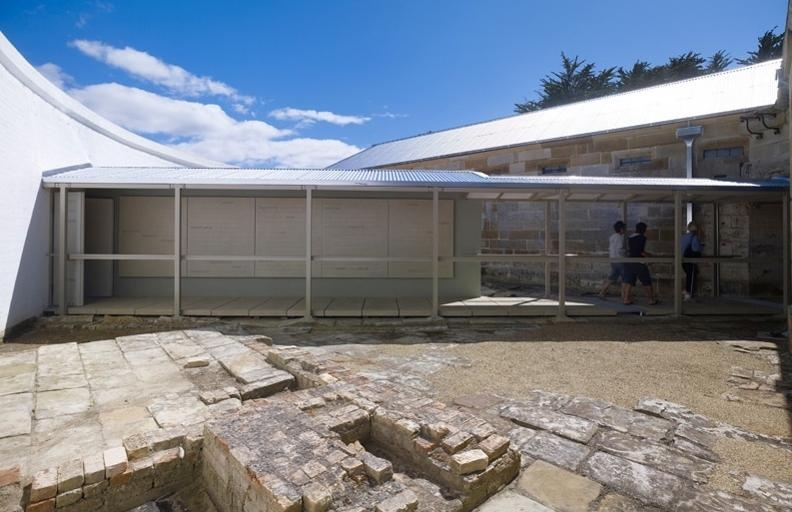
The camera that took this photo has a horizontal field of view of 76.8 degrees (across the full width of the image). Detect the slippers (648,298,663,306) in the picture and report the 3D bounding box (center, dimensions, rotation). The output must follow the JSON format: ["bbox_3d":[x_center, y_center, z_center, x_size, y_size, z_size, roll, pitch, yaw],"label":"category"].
[{"bbox_3d":[5.873,1.067,11.427,0.443,0.105,0.153,-8,10,-31],"label":"slippers"}]
